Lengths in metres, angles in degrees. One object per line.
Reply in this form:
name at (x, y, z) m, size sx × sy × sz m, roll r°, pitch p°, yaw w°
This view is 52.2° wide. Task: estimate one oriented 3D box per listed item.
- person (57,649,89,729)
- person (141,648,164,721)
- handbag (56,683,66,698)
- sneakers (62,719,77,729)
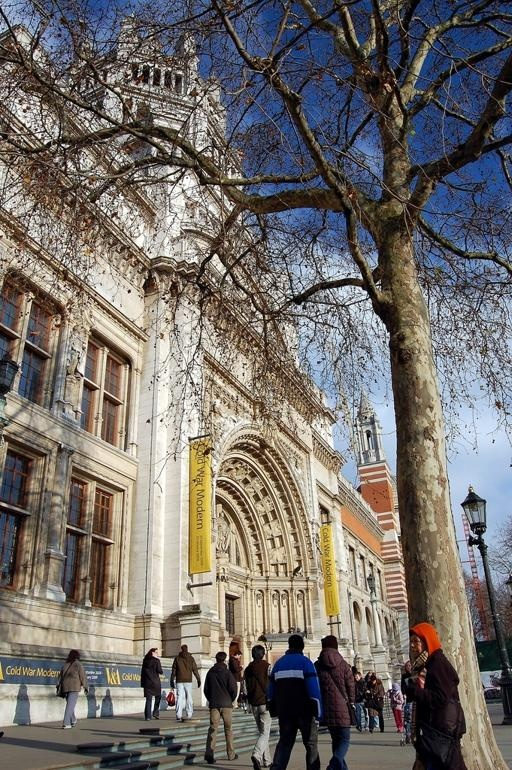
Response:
person at (-3.215, 5.304, 9.143) m, size 0.453 × 1.200 × 0.559 m, roll 9°, pitch -24°, yaw -22°
person at (-2.299, 6.584, 11.501) m, size 0.436 × 1.481 × 1.864 m, roll 3°, pitch -23°, yaw -9°
handbag at (-3.400, 5.338, 9.157) m, size 0.140 × 0.215 × 0.456 m, roll 7°, pitch -24°, yaw -20°
sneakers at (-3.176, 5.782, 8.913) m, size 0.100 × 0.126 × 0.316 m, roll 0°, pitch -33°, yaw 18°
